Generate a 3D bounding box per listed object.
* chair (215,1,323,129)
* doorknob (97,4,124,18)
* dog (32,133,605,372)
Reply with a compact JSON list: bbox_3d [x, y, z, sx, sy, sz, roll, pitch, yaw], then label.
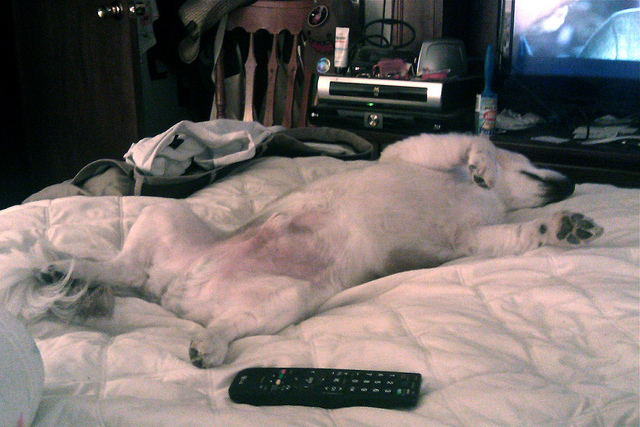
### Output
[{"bbox_3d":[-0.247,-0.781,3.283,0.628,0.638,0.344,7,17,17],"label":"chair"},{"bbox_3d":[-0.921,-0.888,2.757,0.091,0.062,0.063,-17,-3,-33],"label":"doorknob"},{"bbox_3d":[0.010,0.029,1.776,1.554,0.398,0.787,-7,37,-22],"label":"dog"}]
